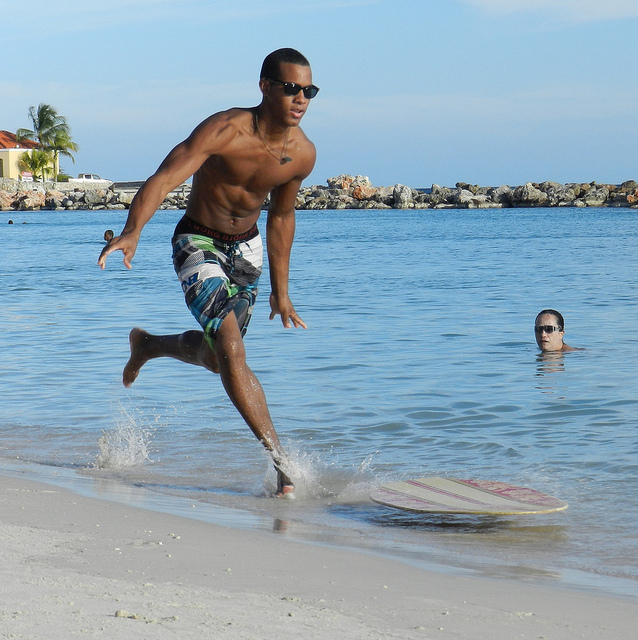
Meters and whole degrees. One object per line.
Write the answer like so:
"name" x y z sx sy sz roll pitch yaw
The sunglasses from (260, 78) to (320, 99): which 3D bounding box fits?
"sunglasses" -0.164 -1.264 7.264 0.298 0.112 0.129 0 7 -2
